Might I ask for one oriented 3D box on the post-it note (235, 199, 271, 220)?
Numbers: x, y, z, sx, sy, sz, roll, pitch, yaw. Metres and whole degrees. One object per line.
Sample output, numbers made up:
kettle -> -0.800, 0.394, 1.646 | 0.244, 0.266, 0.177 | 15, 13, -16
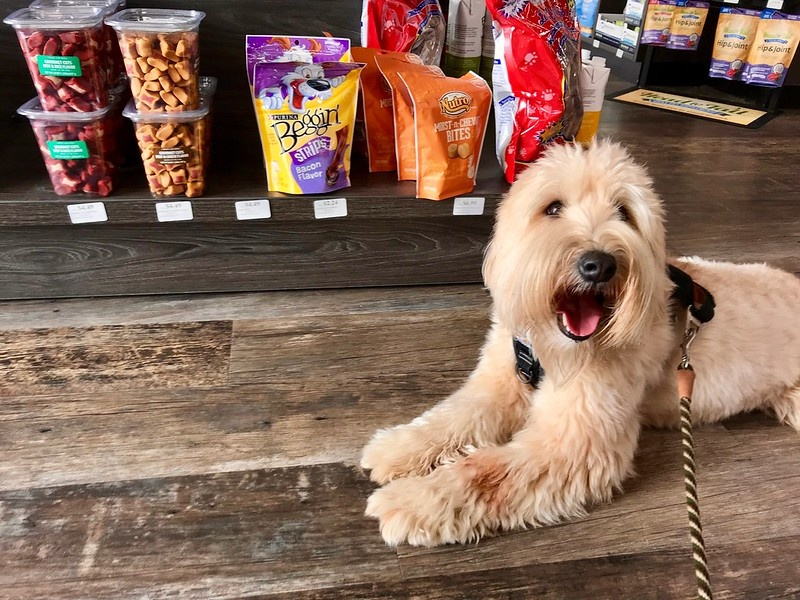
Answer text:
post-it note -> -0.532, -0.331, 2.126 | 0.124, 0.050, 0.009 | -1, 17, -5

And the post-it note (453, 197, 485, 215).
post-it note -> 0.255, -0.359, 2.233 | 0.114, 0.049, 0.012 | -1, 34, -4

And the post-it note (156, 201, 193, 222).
post-it note -> -0.803, -0.318, 2.096 | 0.119, 0.050, 0.011 | -1, 25, -7

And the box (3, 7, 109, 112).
box -> -1.106, -0.811, 1.991 | 0.280, 0.317, 0.306 | -11, 38, -15

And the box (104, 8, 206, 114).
box -> -0.781, -0.793, 1.984 | 0.291, 0.297, 0.235 | -8, 38, -11

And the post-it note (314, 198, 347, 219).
post-it note -> -0.257, -0.338, 2.159 | 0.117, 0.048, 0.011 | -1, 20, -6
